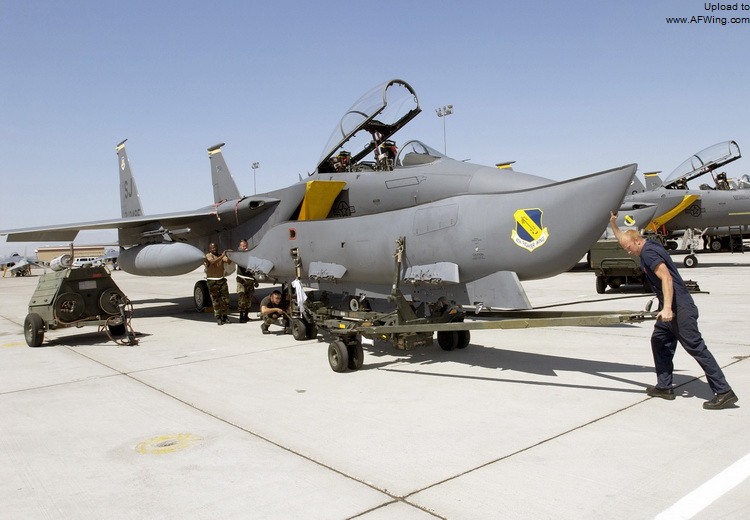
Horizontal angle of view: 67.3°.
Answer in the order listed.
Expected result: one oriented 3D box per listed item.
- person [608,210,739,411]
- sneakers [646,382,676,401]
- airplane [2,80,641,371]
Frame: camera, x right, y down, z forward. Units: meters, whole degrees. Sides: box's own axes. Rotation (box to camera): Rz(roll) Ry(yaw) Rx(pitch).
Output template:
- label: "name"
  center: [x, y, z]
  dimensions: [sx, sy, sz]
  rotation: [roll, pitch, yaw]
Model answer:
- label: "person"
  center: [3.384, 0.646, 6.475]
  dimensions: [0.850, 2.017, 1.046]
  rotation: [-8, 10, -22]
- label: "sneakers"
  center: [3.352, 1.570, 6.718]
  dimensions: [0.146, 0.117, 0.331]
  rotation: [-5, 7, -38]
- label: "airplane"
  center: [-0.179, -0.604, 10.122]
  dimensions: [6.480, 1.762, 8.469]
  rotation: [-8, 10, -43]
